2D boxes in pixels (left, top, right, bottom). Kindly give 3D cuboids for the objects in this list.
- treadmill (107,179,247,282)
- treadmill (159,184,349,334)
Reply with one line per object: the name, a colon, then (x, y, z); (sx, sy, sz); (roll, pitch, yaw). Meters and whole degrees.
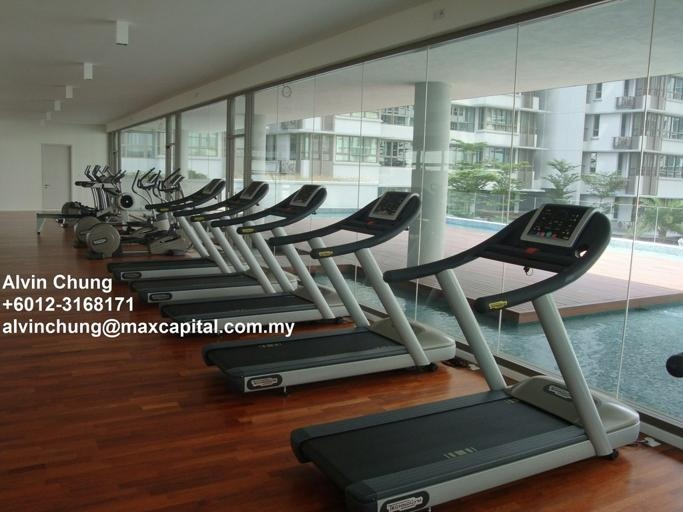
treadmill: (-1.902, -0.337, 6.177); (2.525, 1.163, 1.448); (-4, 15, -26)
treadmill: (-0.910, 0.100, 4.814); (1.767, 0.955, 0.897); (-8, 7, -20)
